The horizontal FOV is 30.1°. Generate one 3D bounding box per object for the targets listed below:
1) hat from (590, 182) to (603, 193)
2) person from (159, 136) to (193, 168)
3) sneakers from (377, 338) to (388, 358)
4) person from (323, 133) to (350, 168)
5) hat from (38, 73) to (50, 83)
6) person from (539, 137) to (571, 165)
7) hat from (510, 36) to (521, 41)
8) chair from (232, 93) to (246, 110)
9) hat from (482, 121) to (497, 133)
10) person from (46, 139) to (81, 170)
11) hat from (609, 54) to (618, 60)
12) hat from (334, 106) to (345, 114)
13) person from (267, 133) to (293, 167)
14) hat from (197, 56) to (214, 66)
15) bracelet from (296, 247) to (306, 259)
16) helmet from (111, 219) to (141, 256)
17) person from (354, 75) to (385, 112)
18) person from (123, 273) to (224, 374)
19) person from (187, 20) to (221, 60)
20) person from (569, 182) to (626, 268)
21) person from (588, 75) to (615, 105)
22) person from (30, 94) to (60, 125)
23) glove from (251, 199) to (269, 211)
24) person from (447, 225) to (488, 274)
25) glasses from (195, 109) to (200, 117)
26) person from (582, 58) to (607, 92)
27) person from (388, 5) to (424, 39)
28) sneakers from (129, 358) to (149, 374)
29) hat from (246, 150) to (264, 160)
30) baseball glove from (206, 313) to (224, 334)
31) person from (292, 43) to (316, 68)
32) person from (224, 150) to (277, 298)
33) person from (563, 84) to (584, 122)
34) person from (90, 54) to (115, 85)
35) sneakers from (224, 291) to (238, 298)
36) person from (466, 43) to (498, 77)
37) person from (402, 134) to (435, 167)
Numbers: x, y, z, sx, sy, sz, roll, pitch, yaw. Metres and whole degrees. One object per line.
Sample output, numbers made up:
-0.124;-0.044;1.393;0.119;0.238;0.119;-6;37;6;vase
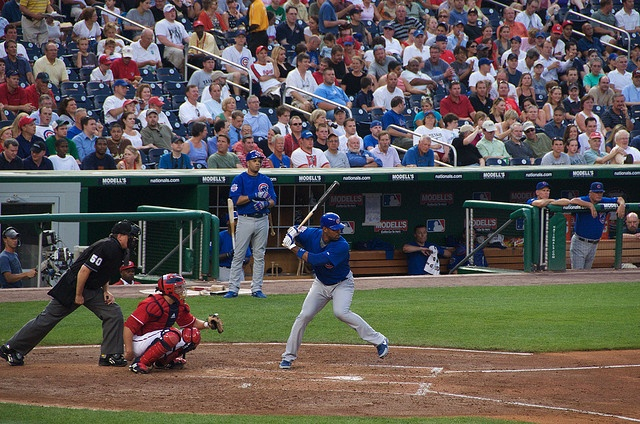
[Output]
6.372;-0.576;27.629;0.267;0.274;0.466;2;-5;12;hat
-3.230;-1.326;27.000;0.756;0.742;0.442;4;-4;-16;person
1.109;2.455;21.391;0.209;0.397;0.144;17;-16;-27;sneakers
0.375;-1.448;28.392;0.819;0.874;0.508;-3;6;-21;person
-6.496;-3.185;28.048;0.280;0.279;0.422;4;-5;-15;hat
5.831;-1.532;29.662;0.789;0.981;0.623;1;-8;2;person
5.529;-4.951;33.918;0.300;0.136;0.426;4;8;10;hat
-1.960;-2.735;29.728;0.427;0.207;0.338;-12;-14;33;chair
4.149;-2.130;29.430;0.312;0.310;0.270;2;-4;6;hat
-5.695;-1.270;26.378;0.742;0.618;0.306;-2;0;-43;person
8.267;-4.431;33.910;0.271;0.150;0.180;-1;12;44;hat
0.436;-2.511;29.268;0.209;0.160;0.366;6;-6;-34;hat
-0.972;-1.435;27.891;0.841;0.877;0.448;0;-4;-35;person
-2.878;-3.846;30.090;0.409;0.202;0.526;0;5;-4;hat
-0.329;0.724;21.208;0.146;0.181;0.307;3;-5;0;bracelet
-3.411;0.435;21.240;0.602;0.630;0.487;-3;6;-26;helmet
1.253;-3.013;30.739;0.889;0.906;0.772;-3;21;-23;person
-2.678;1.975;20.859;1.477;1.744;0.549;3;-4;-10;person
-3.054;-4.516;31.080;0.653;0.921;0.959;-4;10;-8;person
6.386;0.341;27.616;1.146;1.994;0.898;2;-4;12;person
7.671;-3.203;32.559;0.753;0.990;0.683;-2;6;-24;person
-6.327;-2.347;27.321;0.944;0.748;0.476;-1;0;-37;person
-1.211;-0.132;24.450;0.336;0.212;0.083;5;-5;-29;glove
3.605;0.962;29.089;0.965;1.209;0.367;-18;16;-40;person
-2.929;-2.398;28.644;0.090;0.166;0.030;-17;0;-25;glasses
7.693;-3.749;33.278;0.775;1.075;0.667;-5;12;-10;person
2.484;-5.494;34.496;1.393;1.042;0.392;-3;7;-11;person
-3.143;2.698;20.757;0.308;0.159;0.186;4;13;40;sneakers
-1.348;-1.162;24.633;0.295;0.252;0.510;3;-5;0;hat
-1.784;1.958;21.009;0.284;0.358;0.173;-16;19;36;baseball glove
-0.399;-4.095;31.186;0.442;0.621;0.707;-9;-37;3;person
-1.461;0.258;24.689;0.941;3.052;0.852;4;-4;-18;person
6.897;-2.994;32.424;0.705;1.010;0.715;-3;2;-26;person
-5.338;-3.589;29.589;0.732;0.786;0.585;7;9;17;person
-1.848;1.705;24.746;0.255;0.106;0.130;3;-1;4;sneakers
4.535;-4.168;33.395;0.512;0.736;1.017;-3;-41;4;person
2.404;-1.445;28.818;0.757;0.740;0.672;3;-4;-2;person
